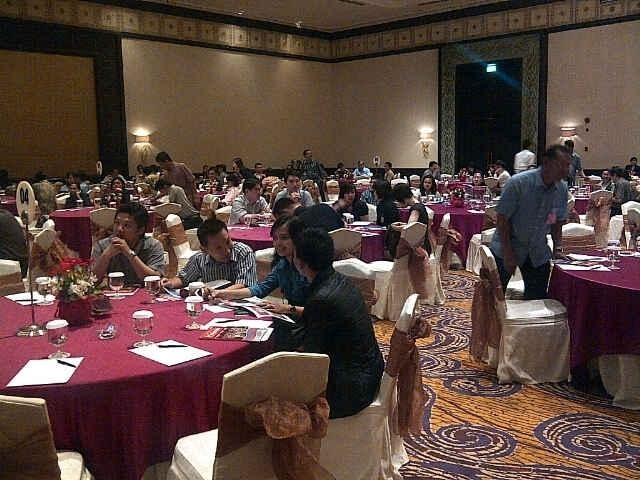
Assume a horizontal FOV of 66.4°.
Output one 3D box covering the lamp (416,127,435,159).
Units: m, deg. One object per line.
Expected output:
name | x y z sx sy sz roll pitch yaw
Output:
lamp | 3.351 -3.280 15.557 0.611 1.183 0.706 7 51 19

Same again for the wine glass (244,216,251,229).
wine glass | -0.859 -0.204 5.864 0.089 0.163 0.093 -1 3 17

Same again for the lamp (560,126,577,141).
lamp | 6.466 -2.748 12.850 0.349 0.493 0.401 -1 3 -4

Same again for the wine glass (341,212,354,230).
wine glass | 0.298 -0.218 5.772 0.113 0.216 0.179 -6 7 -40
